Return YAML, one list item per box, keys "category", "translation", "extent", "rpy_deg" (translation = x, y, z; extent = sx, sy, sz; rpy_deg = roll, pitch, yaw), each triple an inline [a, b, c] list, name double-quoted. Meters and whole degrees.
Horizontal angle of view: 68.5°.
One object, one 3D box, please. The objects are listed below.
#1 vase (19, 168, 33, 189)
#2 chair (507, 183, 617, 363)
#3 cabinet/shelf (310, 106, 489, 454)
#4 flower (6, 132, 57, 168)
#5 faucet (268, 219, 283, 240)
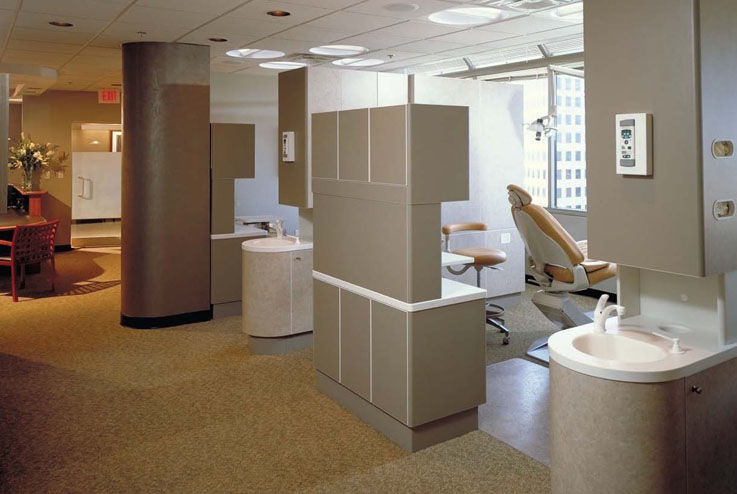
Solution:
- category: "vase"
  translation: [-7.306, -1.472, 11.623]
  extent: [0.277, 0.525, 0.507]
  rpy_deg: [-8, 15, -32]
- category: "chair"
  translation: [2.165, 0.240, 5.868]
  extent: [1.165, 1.834, 1.133]
  rpy_deg: [-3, 5, 7]
- category: "cabinet/shelf"
  translation: [0.146, 0.125, 5.036]
  extent: [0.916, 2.856, 1.699]
  rpy_deg: [-11, 12, -41]
- category: "flower"
  translation: [-7.355, -1.978, 11.666]
  extent: [0.850, 0.601, 0.865]
  rpy_deg: [-1, 0, 20]
- category: "faucet"
  translation: [-1.244, -0.236, 6.964]
  extent: [0.200, 0.253, 0.689]
  rpy_deg: [0, 2, -14]
